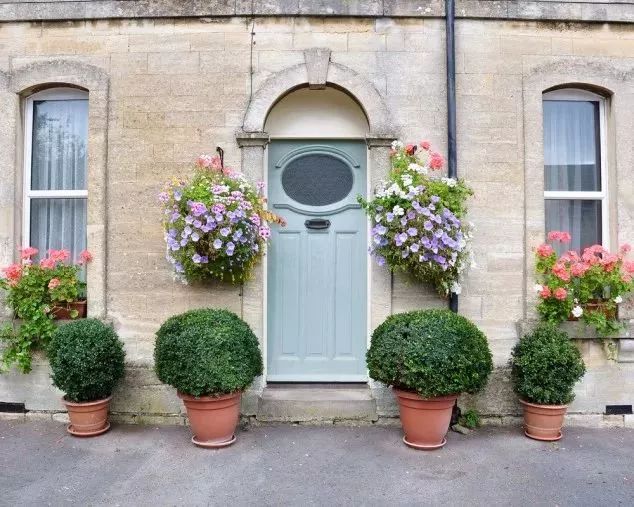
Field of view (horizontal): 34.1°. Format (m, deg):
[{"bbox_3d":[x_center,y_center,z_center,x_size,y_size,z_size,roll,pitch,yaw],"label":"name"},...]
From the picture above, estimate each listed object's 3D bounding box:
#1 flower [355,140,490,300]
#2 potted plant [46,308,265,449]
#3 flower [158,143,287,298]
[{"bbox_3d":[1.074,-0.131,10.554,1.086,0.838,1.004,-4,-14,9],"label":"flower"},{"bbox_3d":[-1.584,1.290,10.294,1.641,0.780,0.544,1,-1,5],"label":"potted plant"},{"bbox_3d":[-0.935,-0.215,10.616,1.272,1.050,1.276,9,-9,-29],"label":"flower"}]
